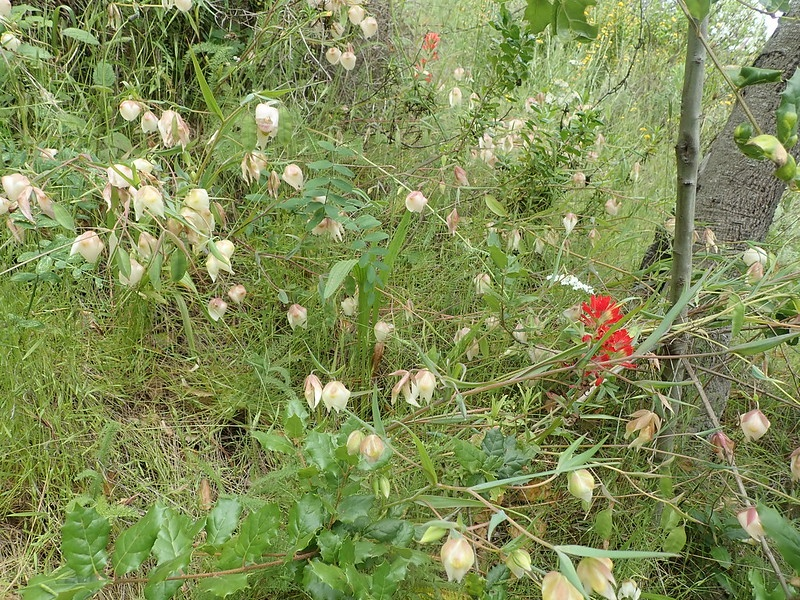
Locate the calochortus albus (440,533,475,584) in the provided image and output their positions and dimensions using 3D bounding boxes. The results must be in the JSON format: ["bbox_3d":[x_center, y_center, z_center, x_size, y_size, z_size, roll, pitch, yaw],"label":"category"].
[{"bbox_3d":[0.133,0.607,1.614,0.084,0.105,0.122,-6,82,1],"label":"calochortus albus"}]
